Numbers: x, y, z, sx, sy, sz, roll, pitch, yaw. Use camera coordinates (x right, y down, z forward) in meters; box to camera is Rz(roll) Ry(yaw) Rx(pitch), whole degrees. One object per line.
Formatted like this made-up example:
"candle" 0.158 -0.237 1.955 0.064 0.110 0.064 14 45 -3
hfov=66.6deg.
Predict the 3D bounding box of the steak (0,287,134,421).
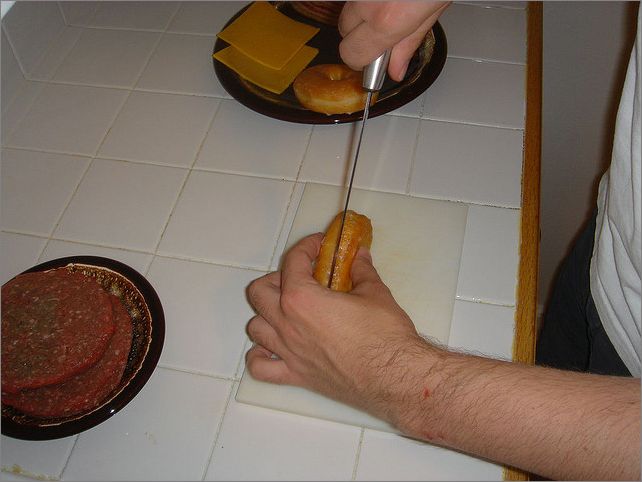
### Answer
"steak" -0.382 0.179 0.732 0.127 0.023 0.178 4 72 3

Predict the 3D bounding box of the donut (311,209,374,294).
"donut" 0.035 0.022 0.830 0.065 0.053 0.170 17 81 0

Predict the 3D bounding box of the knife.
"knife" 0.061 -0.164 0.815 0.067 0.038 0.596 10 98 -4

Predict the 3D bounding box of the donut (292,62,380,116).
"donut" 0.029 -0.349 1.086 0.179 0.079 0.213 -5 41 -12
